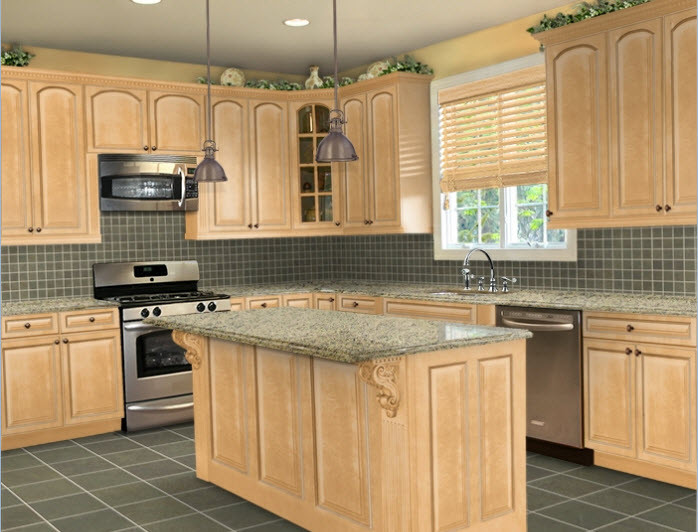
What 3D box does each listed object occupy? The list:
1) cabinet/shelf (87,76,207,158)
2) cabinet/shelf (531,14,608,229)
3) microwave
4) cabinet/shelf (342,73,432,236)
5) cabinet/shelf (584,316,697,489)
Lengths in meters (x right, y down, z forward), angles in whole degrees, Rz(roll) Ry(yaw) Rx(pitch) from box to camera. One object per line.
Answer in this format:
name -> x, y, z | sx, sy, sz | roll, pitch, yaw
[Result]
cabinet/shelf -> -1.788, -1.294, 5.324 | 1.415, 0.608, 0.471 | -2, 4, -34
cabinet/shelf -> 1.570, -0.966, 4.244 | 0.185, 1.385, 0.504 | -7, 7, -31
microwave -> -1.776, -0.763, 5.431 | 1.061, 0.494, 0.649 | -2, 2, -40
cabinet/shelf -> 0.323, -1.019, 5.698 | 0.819, 1.425, 0.386 | 0, 7, 30
cabinet/shelf -> 1.781, 0.741, 3.760 | 0.212, 0.911, 0.633 | -7, 7, -33
